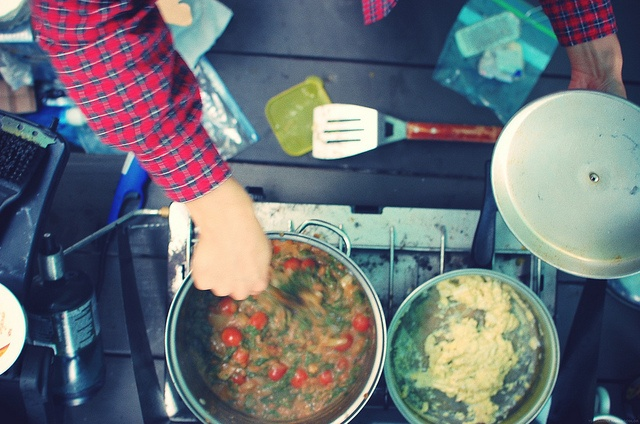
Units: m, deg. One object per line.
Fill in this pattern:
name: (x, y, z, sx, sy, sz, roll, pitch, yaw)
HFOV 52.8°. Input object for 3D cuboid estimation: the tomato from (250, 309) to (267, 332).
tomato: (-0.305, 0.539, 3.176, 0.078, 0.045, 0.085, 1, 87, -5)

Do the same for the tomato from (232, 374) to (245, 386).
tomato: (-0.402, 0.830, 3.174, 0.054, 0.032, 0.050, -6, 99, 0)

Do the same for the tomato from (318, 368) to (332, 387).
tomato: (0.030, 0.825, 3.192, 0.062, 0.071, 0.067, -9, 53, -23)

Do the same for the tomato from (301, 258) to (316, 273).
tomato: (-0.060, 0.263, 3.183, 0.065, 0.056, 0.059, 13, 86, -11)

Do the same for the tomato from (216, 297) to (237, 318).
tomato: (-0.457, 0.474, 3.179, 0.066, 0.046, 0.088, -9, 89, -4)

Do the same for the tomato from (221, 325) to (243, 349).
tomato: (-0.438, 0.620, 3.174, 0.092, 0.048, 0.092, 25, 67, 23)

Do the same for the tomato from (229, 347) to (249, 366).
tomato: (-0.400, 0.720, 3.224, 0.078, 0.048, 0.086, 2, 90, -5)

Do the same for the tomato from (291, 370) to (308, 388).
tomato: (-0.103, 0.829, 3.196, 0.075, 0.077, 0.081, -4, 87, 2)
